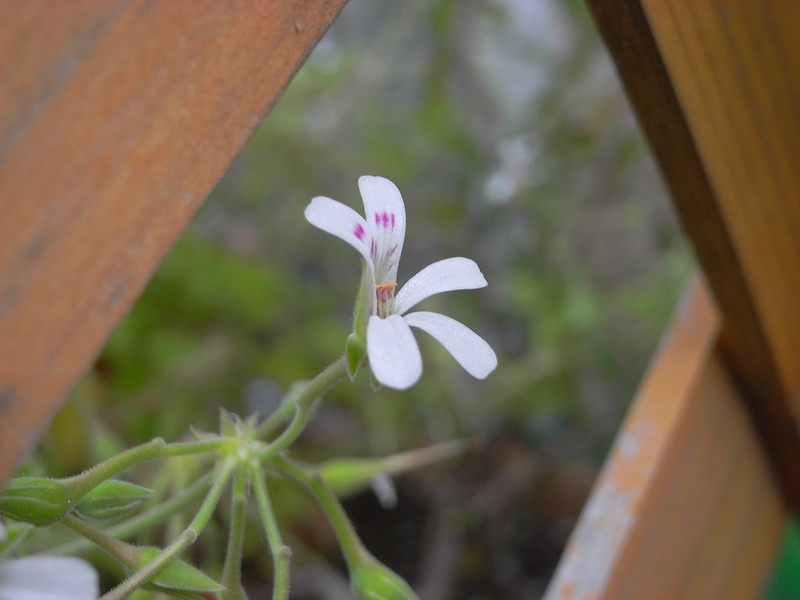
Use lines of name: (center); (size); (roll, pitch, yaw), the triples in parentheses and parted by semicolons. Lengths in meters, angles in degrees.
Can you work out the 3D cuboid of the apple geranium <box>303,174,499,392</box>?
apple geranium: (0.026, -0.036, 1.975); (0.388, 0.387, 0.448); (21, 13, 37)
